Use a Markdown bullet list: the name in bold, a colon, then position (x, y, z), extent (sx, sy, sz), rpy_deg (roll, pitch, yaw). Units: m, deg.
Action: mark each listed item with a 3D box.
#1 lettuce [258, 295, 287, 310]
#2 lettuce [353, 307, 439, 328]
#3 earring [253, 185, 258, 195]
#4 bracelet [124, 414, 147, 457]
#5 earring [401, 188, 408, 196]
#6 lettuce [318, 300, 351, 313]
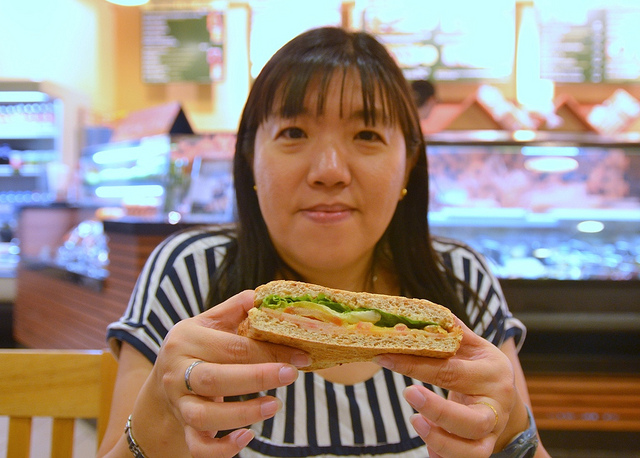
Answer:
- **lettuce**: position (-0.231, 0.355, 2.844), extent (0.088, 0.034, 0.076), rpy_deg (8, 30, 17)
- **lettuce**: position (0.386, 0.454, 2.903), extent (0.394, 0.100, 0.103), rpy_deg (2, -30, -2)
- **earring**: position (-0.362, -0.226, 3.329), extent (0.012, 0.043, 0.042), rpy_deg (-19, -8, -2)
- **bracelet**: position (-0.897, 1.027, 2.912), extent (0.047, 0.176, 0.177), rpy_deg (-23, 20, -1)
- **earring**: position (0.487, -0.211, 3.352), extent (0.017, 0.027, 0.038), rpy_deg (15, -10, 24)
- **lettuce**: position (0.080, 0.372, 2.863), extent (0.098, 0.027, 0.059), rpy_deg (13, 20, 15)
